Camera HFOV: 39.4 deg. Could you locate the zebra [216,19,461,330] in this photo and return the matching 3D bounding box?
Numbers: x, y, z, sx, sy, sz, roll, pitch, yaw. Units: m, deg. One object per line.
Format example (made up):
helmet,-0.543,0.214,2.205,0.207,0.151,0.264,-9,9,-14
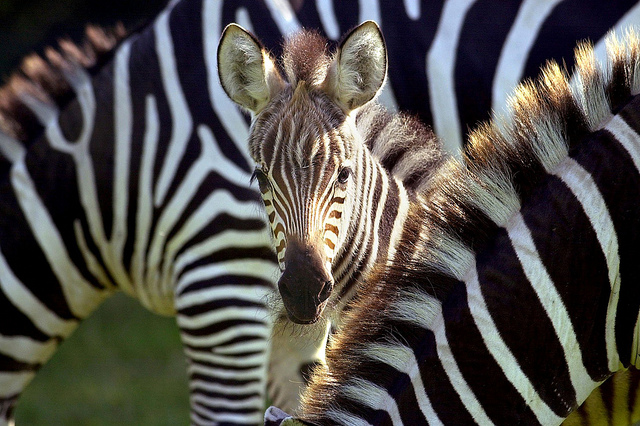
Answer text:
zebra,-0.002,0.057,5.096,0.672,1.918,2.511,-1,1,5
